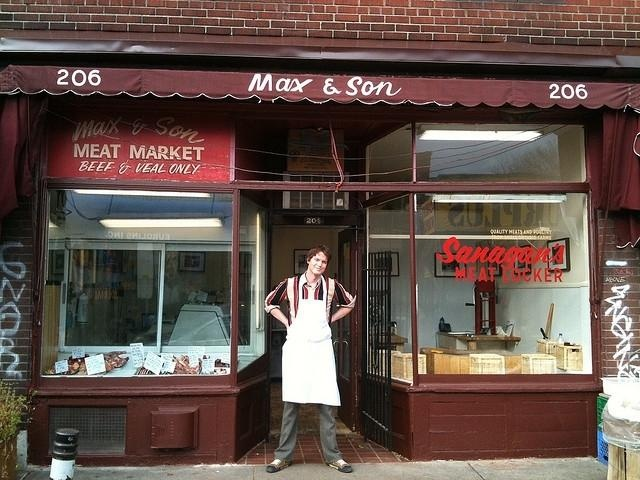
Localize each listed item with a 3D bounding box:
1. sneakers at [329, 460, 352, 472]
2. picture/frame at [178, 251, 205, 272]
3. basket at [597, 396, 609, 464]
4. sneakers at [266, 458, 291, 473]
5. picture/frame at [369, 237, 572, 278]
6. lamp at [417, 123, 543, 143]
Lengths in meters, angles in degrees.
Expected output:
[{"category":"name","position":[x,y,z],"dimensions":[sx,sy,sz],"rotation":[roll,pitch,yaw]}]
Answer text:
[{"category":"sneakers","position":[0.241,2.506,7.119],"dimensions":[0.111,0.101,0.252],"rotation":[5,-5,-42]},{"category":"picture/frame","position":[-1.537,0.268,7.647],"dimensions":[0.239,0.202,0.019],"rotation":[1,-2,2]},{"category":"basket","position":[3.257,2.160,7.304],"dimensions":[0.156,0.793,0.417],"rotation":[-3,-8,22]},{"category":"sneakers","position":[-0.462,2.496,7.044],"dimensions":[0.298,0.125,0.098],"rotation":[11,-13,-42]},{"category":"picture/frame","position":[2.257,0.241,7.894],"dimensions":[1.671,0.565,0.092],"rotation":[0,-7,-1]},{"category":"lamp","position":[2.039,-1.307,8.008],"dimensions":[1.573,0.147,0.061],"rotation":[0,-7,-6]}]
